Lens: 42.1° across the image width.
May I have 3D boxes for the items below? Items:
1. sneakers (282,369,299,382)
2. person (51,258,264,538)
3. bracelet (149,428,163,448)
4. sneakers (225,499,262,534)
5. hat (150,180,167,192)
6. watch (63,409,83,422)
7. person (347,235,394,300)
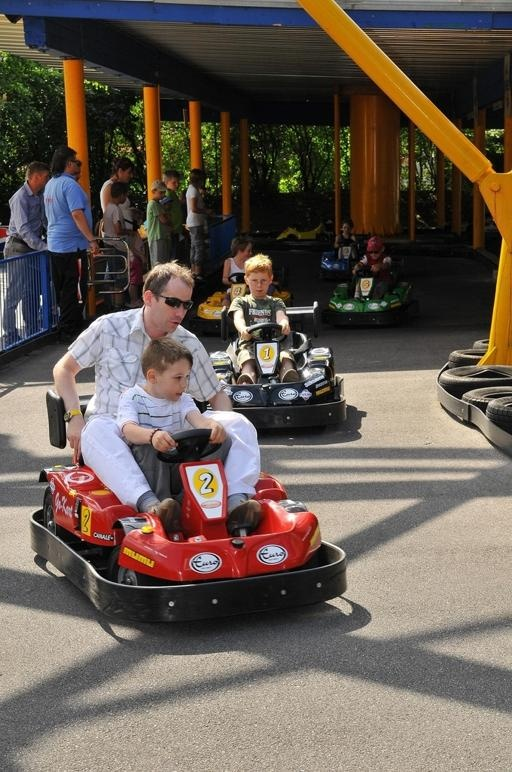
[{"bbox_3d":[0.257,-0.076,4.734,0.059,0.054,0.132,1,-16,-7],"label":"sneakers"},{"bbox_3d":[-0.401,-0.004,2.561,0.888,0.892,0.709,4,8,15],"label":"person"},{"bbox_3d":[-0.333,0.168,2.141,0.025,0.053,0.049,2,-14,32],"label":"bracelet"},{"bbox_3d":[-0.038,0.425,2.164,0.076,0.131,0.057,24,-2,-5],"label":"sneakers"},{"bbox_3d":[-1.310,-2.689,8.938,0.196,0.135,0.242,-3,4,-35],"label":"hat"},{"bbox_3d":[-0.696,0.109,2.527,0.065,0.041,0.064,8,-39,-28],"label":"watch"},{"bbox_3d":[1.656,-1.688,9.428,0.550,0.900,1.099,4,8,8],"label":"person"}]
